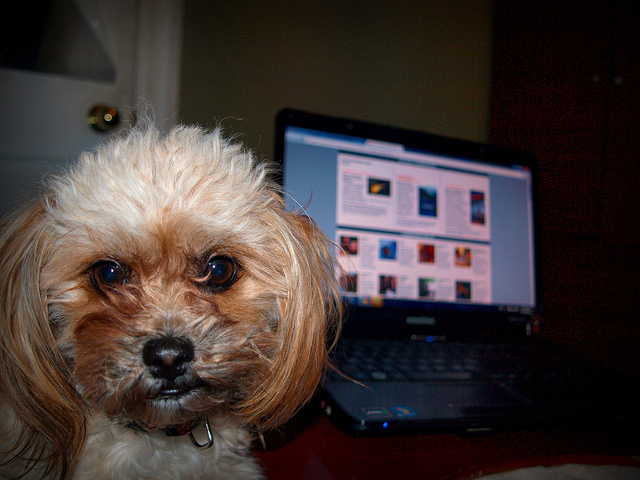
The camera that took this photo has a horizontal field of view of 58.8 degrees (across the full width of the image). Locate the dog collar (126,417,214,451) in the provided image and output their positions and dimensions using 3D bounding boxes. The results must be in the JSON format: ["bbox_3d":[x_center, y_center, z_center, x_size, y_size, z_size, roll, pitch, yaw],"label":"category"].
[{"bbox_3d":[-0.425,0.546,1.607,0.191,0.107,0.117,-1,-26,-4],"label":"dog collar"}]

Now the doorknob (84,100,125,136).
[{"bbox_3d":[-0.700,-0.390,1.838,0.109,0.116,0.104,6,7,-28],"label":"doorknob"}]
